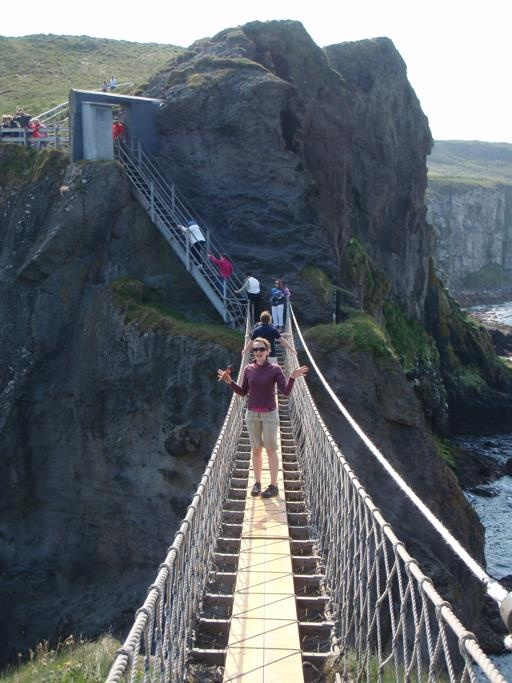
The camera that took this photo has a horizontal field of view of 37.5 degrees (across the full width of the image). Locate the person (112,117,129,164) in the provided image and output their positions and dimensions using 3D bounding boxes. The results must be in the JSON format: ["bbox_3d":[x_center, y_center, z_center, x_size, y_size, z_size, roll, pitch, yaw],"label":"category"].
[{"bbox_3d":[-3.196,-4.719,17.741,0.312,0.982,1.161,0,11,-11],"label":"person"}]

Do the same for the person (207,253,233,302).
[{"bbox_3d":[-0.753,-1.352,15.722,0.441,0.950,1.202,1,11,-4],"label":"person"}]

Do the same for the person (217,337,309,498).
[{"bbox_3d":[0.063,0.645,6.723,0.725,1.441,0.588,2,11,2],"label":"person"}]

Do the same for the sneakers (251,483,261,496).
[{"bbox_3d":[-0.005,1.316,6.701,0.075,0.095,0.227,0,-10,3],"label":"sneakers"}]
